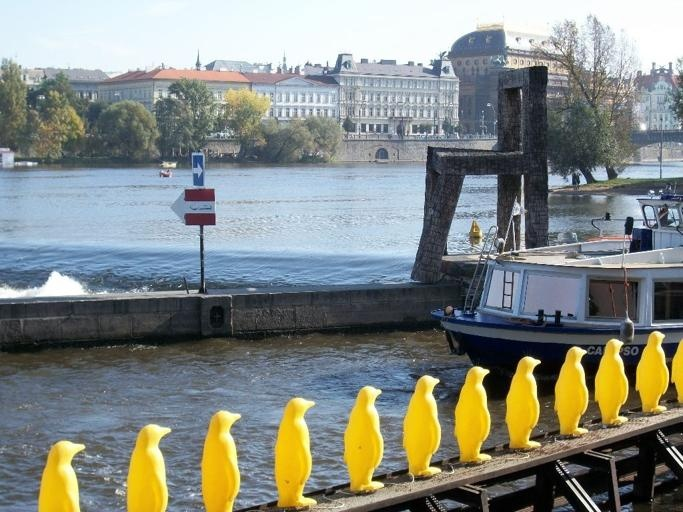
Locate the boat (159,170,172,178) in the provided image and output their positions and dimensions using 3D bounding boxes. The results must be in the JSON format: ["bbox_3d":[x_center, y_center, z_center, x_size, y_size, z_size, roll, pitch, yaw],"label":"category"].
[{"bbox_3d":[-14.838,-6.662,128.913,1.165,0.705,1.504,1,7,-6],"label":"boat"}]
